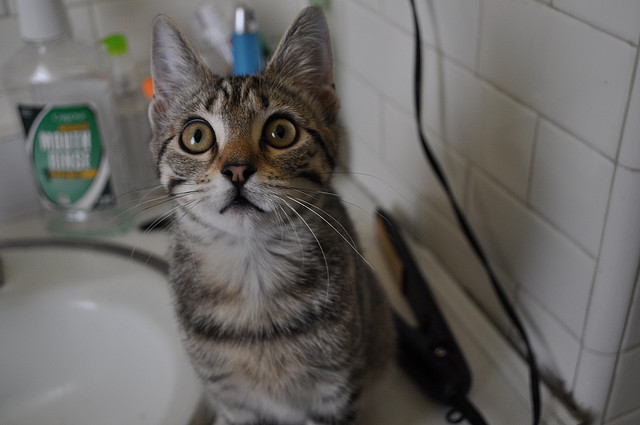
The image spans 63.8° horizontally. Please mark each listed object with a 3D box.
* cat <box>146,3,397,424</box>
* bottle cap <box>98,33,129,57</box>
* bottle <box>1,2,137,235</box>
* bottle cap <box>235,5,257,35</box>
[{"bbox_3d":[-0.063,0.000,0.624,0.292,0.449,0.246,-3,26,8],"label":"cat"},{"bbox_3d":[-0.381,-0.306,0.945,0.048,0.037,0.056,-14,28,-13],"label":"bottle cap"},{"bbox_3d":[-0.409,-0.124,0.839,0.181,0.281,0.228,-17,28,-19],"label":"bottle"},{"bbox_3d":[-0.137,-0.355,0.944,0.041,0.042,0.077,-8,28,-2],"label":"bottle cap"}]
